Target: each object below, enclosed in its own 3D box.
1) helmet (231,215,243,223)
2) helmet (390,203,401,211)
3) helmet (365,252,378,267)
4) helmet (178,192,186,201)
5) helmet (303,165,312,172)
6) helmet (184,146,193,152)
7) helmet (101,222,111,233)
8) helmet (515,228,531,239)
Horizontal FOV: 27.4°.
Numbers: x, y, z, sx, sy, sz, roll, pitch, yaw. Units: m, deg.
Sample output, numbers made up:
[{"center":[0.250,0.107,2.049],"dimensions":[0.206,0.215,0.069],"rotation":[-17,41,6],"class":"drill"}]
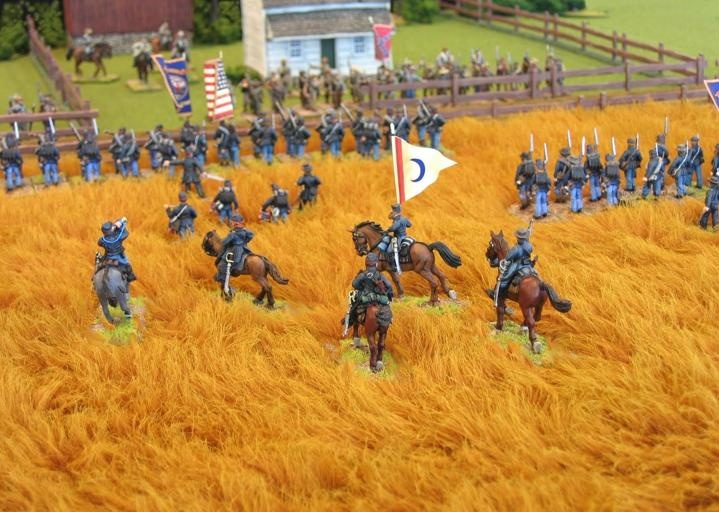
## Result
[{"center":[-3.595,-1.057,42.143],"dimensions":[0.274,0.302,0.440],"rotation":[0,19,5],"class":"helmet"},{"center":[0.968,-1.380,41.894],"dimensions":[0.244,0.225,0.198],"rotation":[-1,2,29],"class":"helmet"},{"center":[0.263,0.083,39.993],"dimensions":[0.298,0.342,0.326],"rotation":[4,6,14],"class":"helmet"},{"center":[-5.448,-1.804,44.292],"dimensions":[0.206,0.242,0.242],"rotation":[14,-9,-3],"class":"helmet"},{"center":[-1.724,-2.704,46.008],"dimensions":[0.247,0.325,0.269],"rotation":[-3,18,-4],"class":"helmet"},{"center":[-5.624,-3.433,47.381],"dimensions":[0.236,0.148,0.476],"rotation":[-4,20,-9],"class":"helmet"},{"center":[-7.138,-0.785,40.840],"dimensions":[0.265,0.312,0.337],"rotation":[-7,19,-17],"class":"helmet"},{"center":[4.473,-0.598,40.359],"dimensions":[0.410,0.333,0.383],"rotation":[-4,18,-9],"class":"helmet"}]
